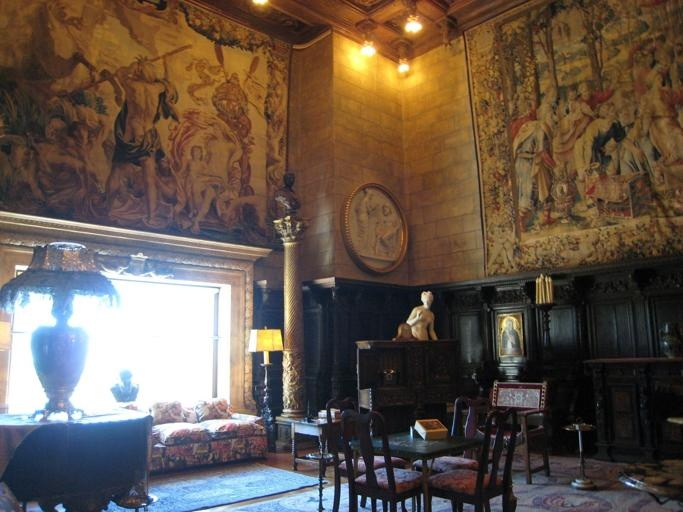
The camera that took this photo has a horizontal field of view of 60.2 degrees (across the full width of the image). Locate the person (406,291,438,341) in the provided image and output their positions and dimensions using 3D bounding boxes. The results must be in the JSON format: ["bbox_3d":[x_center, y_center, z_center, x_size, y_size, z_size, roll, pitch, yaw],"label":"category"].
[{"bbox_3d":[1.527,1.118,11.362,0.506,1.079,2.168,-4,-10,9],"label":"person"}]

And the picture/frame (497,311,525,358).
[{"bbox_3d":[3.437,1.617,11.941,0.107,1.270,0.698,14,-20,-37],"label":"picture/frame"}]

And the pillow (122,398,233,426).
[{"bbox_3d":[-2.761,2.804,10.608,0.946,0.303,0.952,4,-5,-33],"label":"pillow"}]

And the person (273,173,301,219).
[{"bbox_3d":[-1.117,-1.200,12.223,0.521,1.211,1.763,-1,-10,-6],"label":"person"}]
